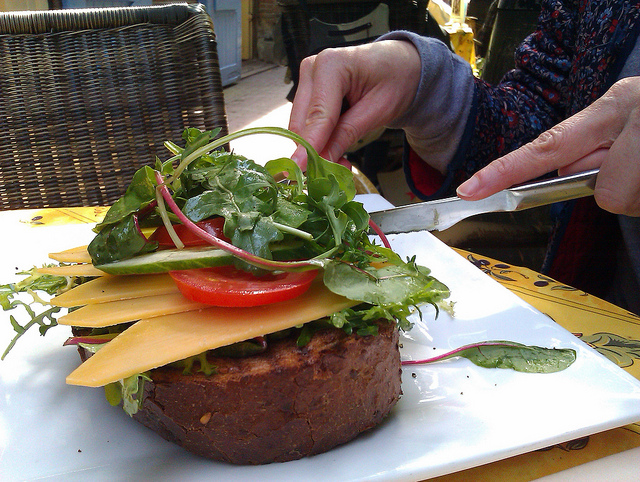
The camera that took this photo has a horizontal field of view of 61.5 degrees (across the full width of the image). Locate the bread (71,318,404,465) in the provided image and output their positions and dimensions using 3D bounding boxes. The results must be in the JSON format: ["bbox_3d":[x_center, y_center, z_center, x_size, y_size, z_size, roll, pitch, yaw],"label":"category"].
[{"bbox_3d":[-0.095,0.333,1.159,0.610,0.241,0.185,-6,36,-13],"label":"bread"}]

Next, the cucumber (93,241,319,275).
[{"bbox_3d":[-0.239,0.055,1.187,0.422,0.030,0.123,2,-12,-40],"label":"cucumber"}]

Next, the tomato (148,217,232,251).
[{"bbox_3d":[-0.337,-0.021,1.288,0.250,0.070,0.248,0,-2,-31],"label":"tomato"}]

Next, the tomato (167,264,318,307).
[{"bbox_3d":[-0.166,0.101,1.147,0.309,0.066,0.099,4,34,3],"label":"tomato"}]

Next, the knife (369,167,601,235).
[{"bbox_3d":[0.429,-0.096,1.423,0.729,0.096,0.074,-11,48,-17],"label":"knife"}]
